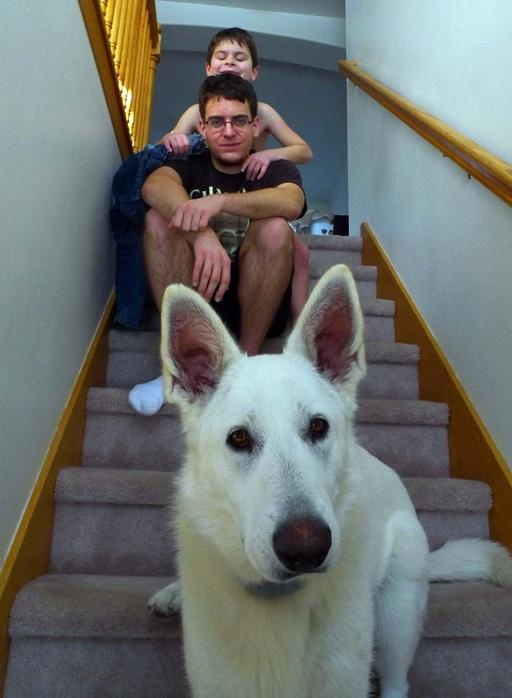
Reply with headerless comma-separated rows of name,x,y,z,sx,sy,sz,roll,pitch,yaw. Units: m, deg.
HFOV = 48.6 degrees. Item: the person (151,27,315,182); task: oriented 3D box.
person,-0.139,-1.445,3.643,0.960,1.167,0.660,9,15,2
